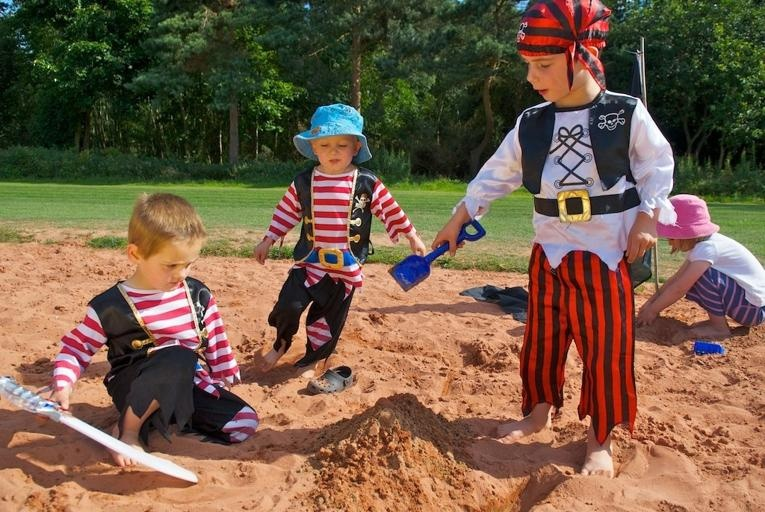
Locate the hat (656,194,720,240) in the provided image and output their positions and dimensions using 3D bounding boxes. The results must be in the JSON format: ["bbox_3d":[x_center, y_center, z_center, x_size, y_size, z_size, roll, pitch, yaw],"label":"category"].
[{"bbox_3d":[3.162,-0.373,7.770,0.690,0.330,0.611,-9,12,1],"label":"hat"}]

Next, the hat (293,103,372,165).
[{"bbox_3d":[-0.496,-1.148,7.017,0.646,0.520,0.471,7,7,43],"label":"hat"}]

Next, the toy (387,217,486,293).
[{"bbox_3d":[0.410,0.063,6.417,1.112,0.351,0.186,-31,-14,4],"label":"toy"}]

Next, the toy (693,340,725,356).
[{"bbox_3d":[3.252,0.899,7.537,0.361,0.106,0.290,-2,6,-35],"label":"toy"}]
